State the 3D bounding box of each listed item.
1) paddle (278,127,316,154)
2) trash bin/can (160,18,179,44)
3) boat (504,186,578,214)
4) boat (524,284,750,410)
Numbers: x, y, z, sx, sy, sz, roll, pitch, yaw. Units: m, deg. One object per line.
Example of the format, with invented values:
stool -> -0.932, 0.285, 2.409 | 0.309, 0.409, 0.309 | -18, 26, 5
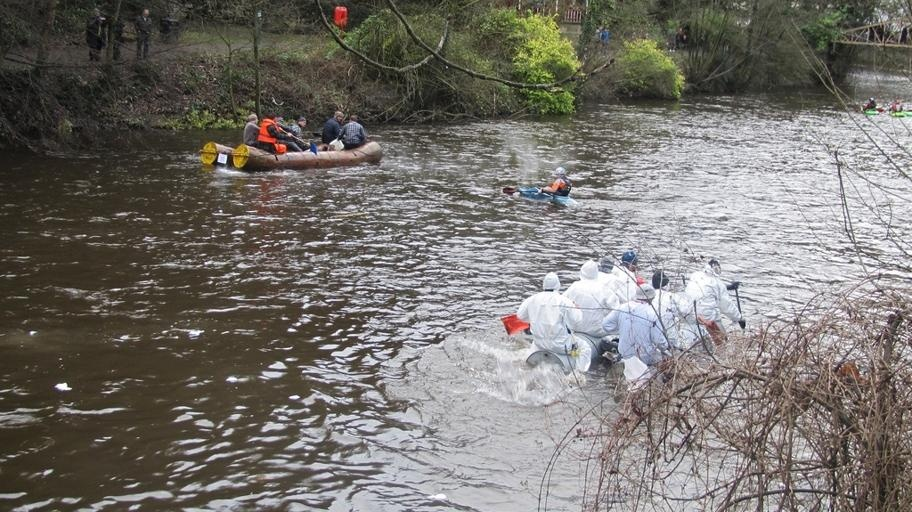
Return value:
paddle -> -6.716, -4.728, 35.381 | 1.513, 0.979, 0.535 | 31, -45, -35
trash bin/can -> -15.825, -12.372, 47.254 | 1.076, 1.239, 1.226 | -8, 16, -18
boat -> 3.171, -2.170, 31.970 | 3.090, 0.654, 0.983 | 8, 13, 28
boat -> 4.504, 1.775, 21.021 | 5.373, 2.038, 1.849 | -1, 14, -18
